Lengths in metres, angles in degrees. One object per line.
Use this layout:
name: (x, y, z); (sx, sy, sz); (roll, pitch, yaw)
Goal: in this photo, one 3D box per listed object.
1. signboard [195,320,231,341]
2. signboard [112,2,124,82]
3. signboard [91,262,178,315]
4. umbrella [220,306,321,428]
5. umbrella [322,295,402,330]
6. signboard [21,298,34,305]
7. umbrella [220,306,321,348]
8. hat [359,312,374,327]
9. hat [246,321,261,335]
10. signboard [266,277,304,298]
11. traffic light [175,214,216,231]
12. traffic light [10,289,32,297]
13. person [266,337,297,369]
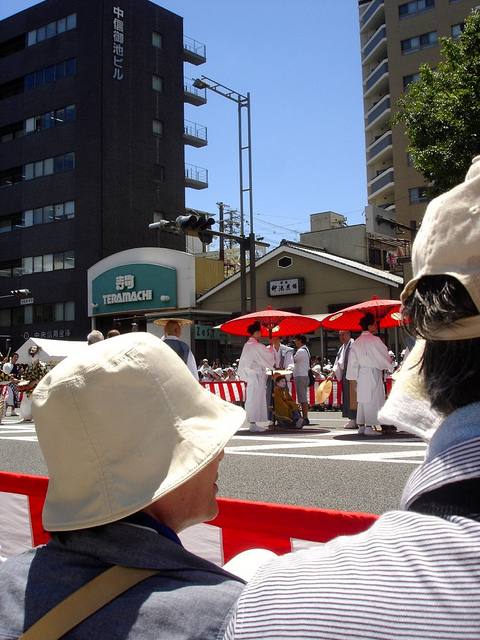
signboard: (-1.409, 0.569, 30.300); (1.249, 0.688, 1.264); (4, 5, 41)
signboard: (-7.152, -16.313, 36.411); (0.232, 4.459, 1.021); (0, 3, 37)
signboard: (-5.710, -1.685, 33.411); (6.955, 2.768, 0.932); (-1, 0, 40)
umbrella: (0.719, 1.014, 13.923); (2.408, 2.502, 2.259); (-6, -13, 15)
umbrella: (2.442, -0.122, 12.608); (1.420, 0.598, 1.350); (-8, -16, 29)
signboard: (-13.224, -1.222, 38.641); (1.118, 0.356, 0.136); (1, 4, 33)
umbrella: (0.677, 0.035, 14.419); (1.272, 0.636, 1.340); (13, -25, -39)
hat: (2.229, 0.003, 10.915); (0.238, 0.223, 0.220); (-1, 3, 9)
hat: (0.285, 0.136, 12.811); (0.202, 0.235, 0.258); (-3, -1, 26)
signboard: (2.024, -1.462, 27.635); (0.506, 0.869, 1.800); (-4, 4, -41)
traffic light: (-1.298, -2.840, 17.941); (1.017, 0.500, 0.965); (-2, 3, -5)
traffic light: (-13.630, -1.697, 38.495); (1.486, 0.479, 1.032); (2, 5, 44)
person: (0.957, 0.765, 14.263); (0.245, 0.851, 0.764); (-25, -12, 36)
